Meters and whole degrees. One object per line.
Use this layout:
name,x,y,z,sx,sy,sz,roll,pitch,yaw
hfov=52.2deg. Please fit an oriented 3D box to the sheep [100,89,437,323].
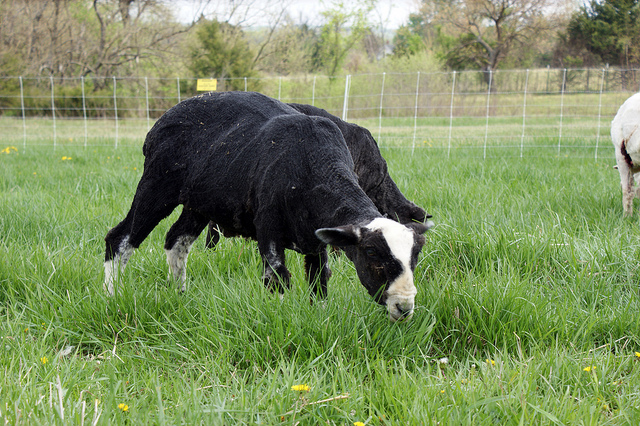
sheep,-0.594,-0.178,9.357,1.466,3.062,5.540,-10,27,-29
